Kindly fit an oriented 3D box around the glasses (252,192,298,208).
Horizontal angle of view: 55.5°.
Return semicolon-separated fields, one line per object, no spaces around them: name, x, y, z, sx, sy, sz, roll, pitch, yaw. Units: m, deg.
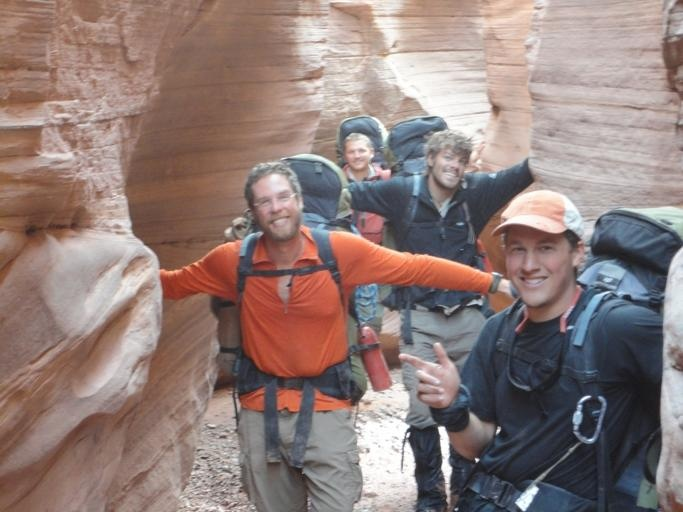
glasses;-0.323;-0.274;3.196;0.123;0.036;0.114;-14;0;-8

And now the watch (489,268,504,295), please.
watch;0.803;0.134;3.360;0.083;0.087;0.112;8;-5;19

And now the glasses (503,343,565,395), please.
glasses;0.702;0.420;2.390;0.214;0.157;0.138;9;-4;-1

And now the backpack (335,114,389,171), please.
backpack;0.201;-0.980;5.568;0.461;0.465;0.544;2;1;11

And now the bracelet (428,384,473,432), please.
bracelet;0.417;0.569;2.461;0.155;0.143;0.153;-31;16;45

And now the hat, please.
hat;0.766;-0.177;2.487;0.219;0.119;0.295;-5;-16;45
